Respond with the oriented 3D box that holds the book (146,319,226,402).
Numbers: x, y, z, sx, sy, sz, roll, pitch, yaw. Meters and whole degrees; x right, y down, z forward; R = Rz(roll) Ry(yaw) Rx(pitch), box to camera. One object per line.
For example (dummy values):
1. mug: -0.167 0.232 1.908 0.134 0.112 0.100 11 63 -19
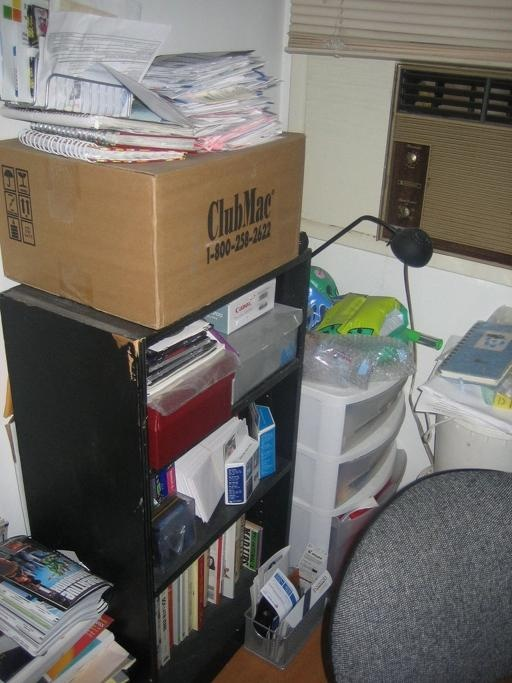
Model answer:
1. book: -0.115 0.032 0.915 0.120 0.029 0.092 -28 44 -27
